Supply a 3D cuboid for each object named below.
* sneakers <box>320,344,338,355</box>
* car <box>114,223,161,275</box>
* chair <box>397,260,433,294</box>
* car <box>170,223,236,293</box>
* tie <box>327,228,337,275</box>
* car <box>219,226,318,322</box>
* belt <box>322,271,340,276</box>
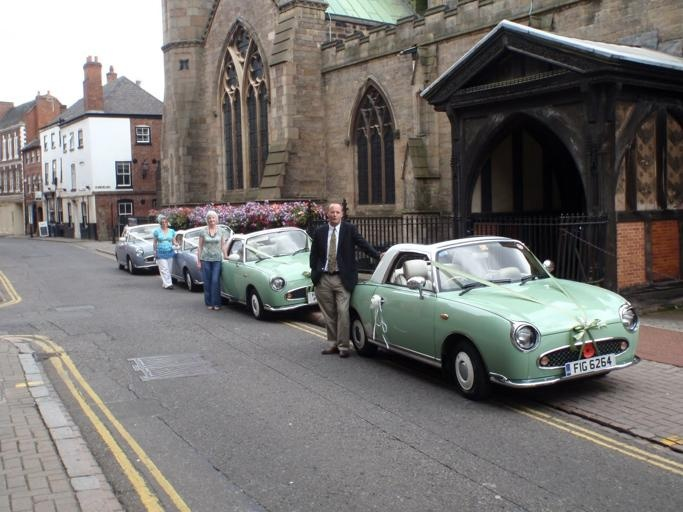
[{"bbox_3d":[-0.215,1.528,9.910,0.317,0.276,0.120,3,0,-5],"label":"sneakers"},{"bbox_3d":[-7.422,-0.303,22.388,1.343,1.287,2.694,-4,8,-38],"label":"car"},{"bbox_3d":[0.975,0.268,8.188,0.297,0.521,0.399,-1,-6,-6],"label":"chair"},{"bbox_3d":[-4.146,0.022,17.618,1.330,1.091,2.300,-3,5,-29],"label":"car"},{"bbox_3d":[-0.142,-0.070,9.618,0.167,0.635,0.216,-4,9,2],"label":"tie"},{"bbox_3d":[-1.543,0.306,13.040,1.365,1.128,2.318,-5,9,-34],"label":"car"},{"bbox_3d":[-0.164,0.284,9.580,0.252,0.077,0.036,-3,9,16],"label":"belt"}]
